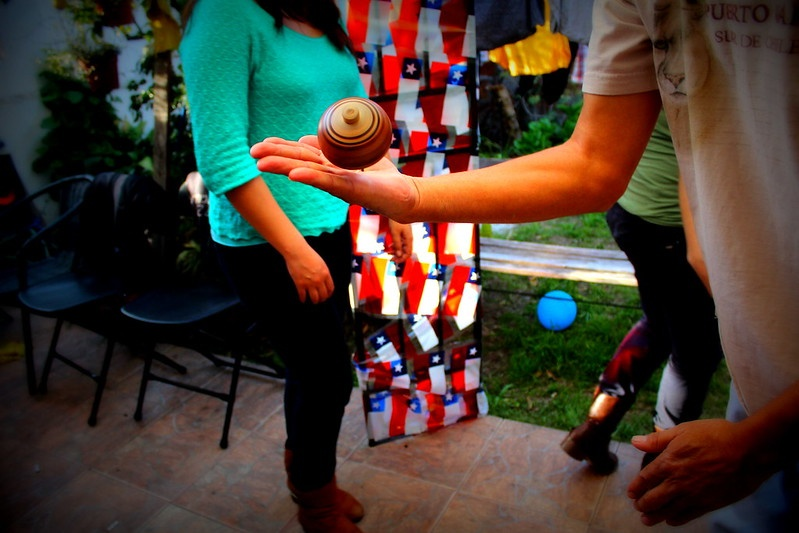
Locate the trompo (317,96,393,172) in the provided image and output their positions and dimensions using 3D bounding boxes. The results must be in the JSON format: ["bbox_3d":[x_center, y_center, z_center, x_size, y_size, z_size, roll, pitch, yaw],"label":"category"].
[{"bbox_3d":[-0.156,-0.481,1.882,0.281,0.120,0.292,1,64,9],"label":"trompo"}]

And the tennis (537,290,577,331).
[{"bbox_3d":[1.165,0.332,4.086,0.283,0.331,0.286,-2,18,26],"label":"tennis"}]

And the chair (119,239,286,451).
[{"bbox_3d":[-1.203,0.322,3.439,0.734,1.117,1.043,7,8,-1],"label":"chair"}]
